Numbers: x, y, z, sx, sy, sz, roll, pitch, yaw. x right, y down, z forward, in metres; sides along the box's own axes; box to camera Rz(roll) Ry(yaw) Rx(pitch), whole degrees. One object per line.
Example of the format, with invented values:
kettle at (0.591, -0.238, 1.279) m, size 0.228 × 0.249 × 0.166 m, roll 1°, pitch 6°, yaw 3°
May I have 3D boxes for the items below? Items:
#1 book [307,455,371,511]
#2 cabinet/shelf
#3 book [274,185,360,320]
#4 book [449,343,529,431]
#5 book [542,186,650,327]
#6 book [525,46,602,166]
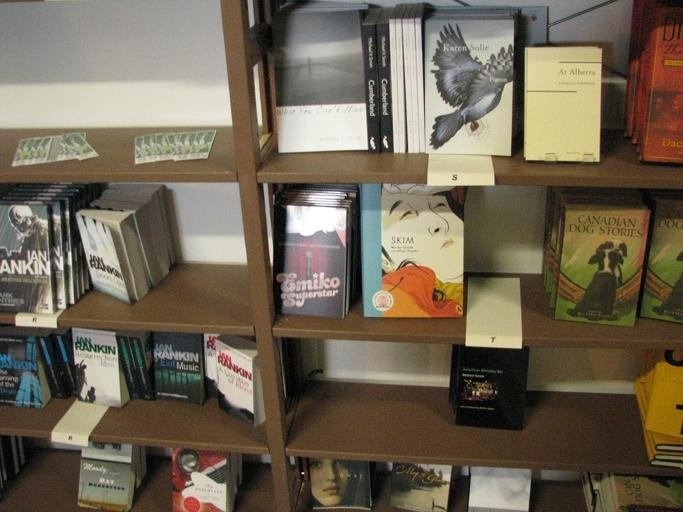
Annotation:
book at (-0.009, 0.913, 2.422) m, size 0.299 × 0.293 × 0.053 m, roll 2°, pitch 22°, yaw 3°
cabinet/shelf at (-0.013, -0.054, 2.103) m, size 1.949 × 1.261 × 0.336 m, roll 2°, pitch 32°, yaw 4°
book at (-0.086, -0.019, 2.093) m, size 0.310 × 0.454 × 0.151 m, roll -3°, pitch 12°, yaw 1°
book at (0.552, 0.490, 2.222) m, size 0.277 × 0.397 × 0.216 m, roll 4°, pitch 26°, yaw 14°
book at (0.852, -0.006, 2.028) m, size 0.282 × 0.454 × 0.224 m, roll 0°, pitch 12°, yaw 13°
book at (0.663, -0.453, 1.802) m, size 0.215 × 0.349 × 0.086 m, roll 0°, pitch 12°, yaw 14°
